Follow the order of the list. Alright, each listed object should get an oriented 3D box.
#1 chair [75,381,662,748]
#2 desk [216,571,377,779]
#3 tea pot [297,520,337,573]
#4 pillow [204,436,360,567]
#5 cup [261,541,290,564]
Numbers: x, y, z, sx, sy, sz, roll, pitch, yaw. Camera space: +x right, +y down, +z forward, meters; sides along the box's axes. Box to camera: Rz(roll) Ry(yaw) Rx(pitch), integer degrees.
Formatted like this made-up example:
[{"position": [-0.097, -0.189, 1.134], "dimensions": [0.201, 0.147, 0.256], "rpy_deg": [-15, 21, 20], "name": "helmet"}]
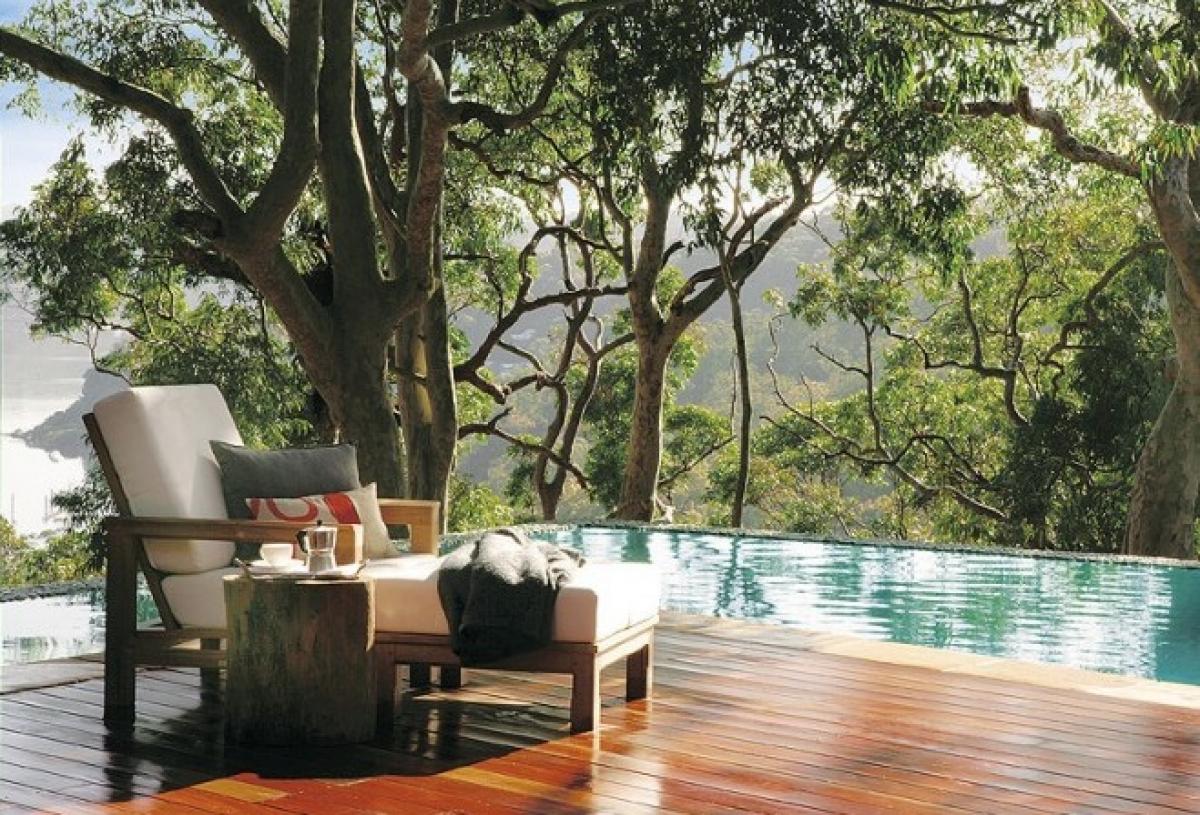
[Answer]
[{"position": [-1.257, 0.768, 5.961], "dimensions": [2.799, 1.783, 1.584], "rpy_deg": [-1, -4, 9], "name": "chair"}, {"position": [-1.474, 1.152, 5.380], "dimensions": [0.722, 0.852, 0.746], "rpy_deg": [6, 10, 13], "name": "desk"}, {"position": [-1.368, 0.677, 5.209], "dimensions": [0.182, 0.260, 0.150], "rpy_deg": [1, -5, -27], "name": "tea pot"}, {"position": [-1.762, 0.588, 6.272], "dimensions": [0.343, 0.752, 1.027], "rpy_deg": [15, 10, 31], "name": "pillow"}, {"position": [-1.561, 0.693, 5.163], "dimensions": [0.108, 0.067, 0.091], "rpy_deg": [-5, -5, -5], "name": "cup"}]
